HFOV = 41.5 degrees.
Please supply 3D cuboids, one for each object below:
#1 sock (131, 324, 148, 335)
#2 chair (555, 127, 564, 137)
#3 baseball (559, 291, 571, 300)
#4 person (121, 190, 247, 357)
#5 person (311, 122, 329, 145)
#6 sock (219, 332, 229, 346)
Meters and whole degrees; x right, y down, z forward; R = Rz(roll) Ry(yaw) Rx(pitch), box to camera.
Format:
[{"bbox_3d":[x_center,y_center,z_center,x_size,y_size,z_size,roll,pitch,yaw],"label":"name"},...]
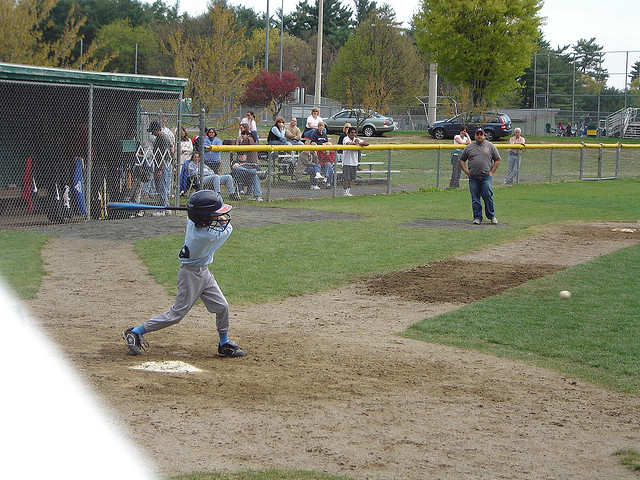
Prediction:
[{"bbox_3d":[-2.001,0.999,9.304,0.109,0.093,0.160,14,18,38],"label":"sock"},{"bbox_3d":[17.209,-7.740,60.762,0.498,0.625,0.687,4,1,22],"label":"chair"},{"bbox_3d":[3.427,0.786,11.831,0.137,0.069,0.124,2,5,-11],"label":"baseball"},{"bbox_3d":[-1.400,0.379,9.377,1.251,1.866,0.626,2,15,-5],"label":"person"},{"bbox_3d":[-0.012,-3.000,24.055,0.601,0.640,0.715,-1,3,-23],"label":"person"},{"bbox_3d":[-1.066,1.107,9.452,0.101,0.137,0.131,2,14,-5],"label":"sock"}]
